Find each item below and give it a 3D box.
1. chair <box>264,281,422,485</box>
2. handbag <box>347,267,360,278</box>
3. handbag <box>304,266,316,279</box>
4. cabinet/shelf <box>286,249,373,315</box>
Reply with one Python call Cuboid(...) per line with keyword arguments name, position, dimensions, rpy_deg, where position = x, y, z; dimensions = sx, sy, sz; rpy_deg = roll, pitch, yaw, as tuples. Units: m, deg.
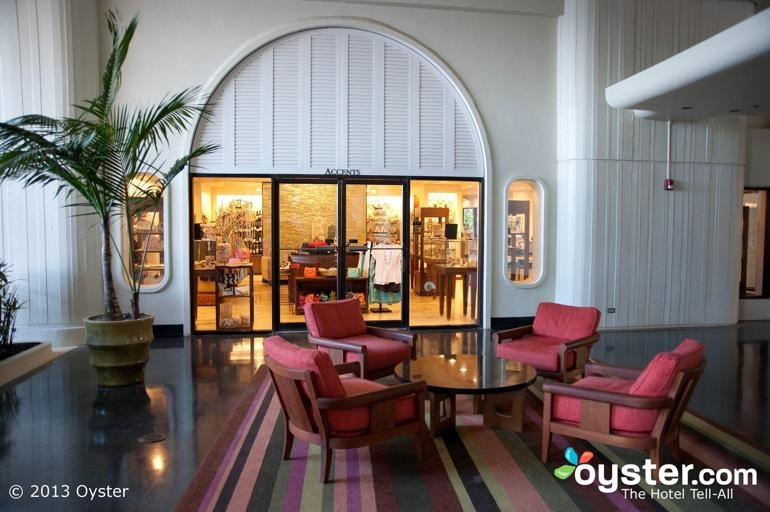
Cuboid(name="chair", position=(-0.390, 1.381, 6.189), dimensions=(1.795, 1.703, 1.502), rpy_deg=(-4, 7, -40))
Cuboid(name="handbag", position=(-0.563, 0.296, 9.663), dimensions=(0.240, 0.184, 0.142), rpy_deg=(1, 6, 1))
Cuboid(name="handbag", position=(-1.320, 0.295, 9.613), dimensions=(0.218, 0.180, 0.162), rpy_deg=(0, -1, -14))
Cuboid(name="cabinet/shelf", position=(-0.992, 0.399, 9.272), dimensions=(1.124, 0.959, 0.375), rpy_deg=(0, 1, -9))
